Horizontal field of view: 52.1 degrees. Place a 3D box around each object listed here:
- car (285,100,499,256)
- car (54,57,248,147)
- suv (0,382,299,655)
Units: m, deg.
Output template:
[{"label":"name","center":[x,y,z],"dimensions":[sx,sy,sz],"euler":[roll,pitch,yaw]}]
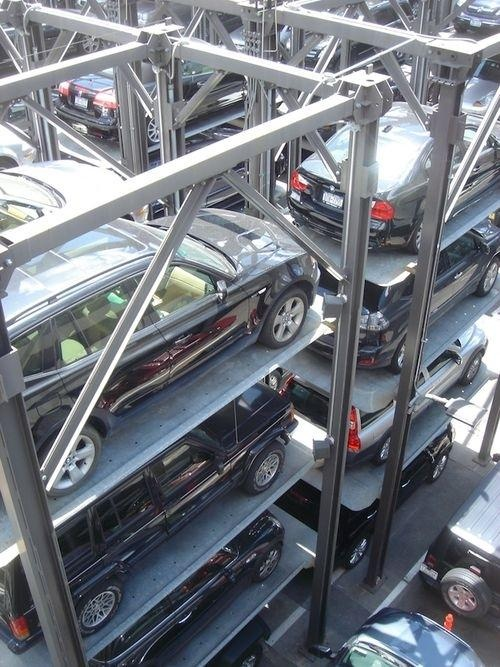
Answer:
[{"label":"car","center":[1.988,-1.920,6.483],"dimensions":[1.428,1.087,3.320],"euler":[31,61,34]},{"label":"car","center":[-1.478,-3.919,8.802],"dimensions":[3.561,1.318,3.693],"euler":[-7,29,-17]},{"label":"suv","center":[-0.807,1.671,5.058],"dimensions":[1.242,1.161,3.259],"euler":[37,66,25]}]
